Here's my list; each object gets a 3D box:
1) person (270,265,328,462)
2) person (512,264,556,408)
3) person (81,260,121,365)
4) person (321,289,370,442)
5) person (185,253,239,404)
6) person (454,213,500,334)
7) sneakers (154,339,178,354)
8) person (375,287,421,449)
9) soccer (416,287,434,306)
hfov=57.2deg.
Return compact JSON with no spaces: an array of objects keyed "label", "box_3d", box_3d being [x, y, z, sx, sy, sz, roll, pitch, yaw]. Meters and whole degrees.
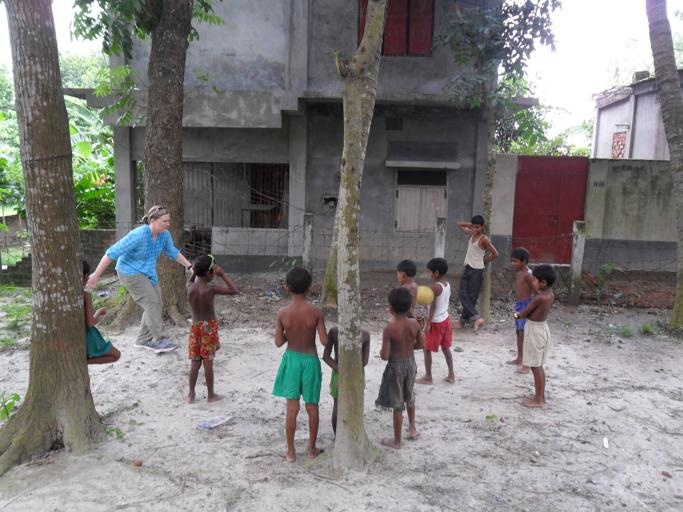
[{"label":"person","box_3d":[-0.458,1.186,6.922,0.575,2.098,0.397,0,4,-5]},{"label":"person","box_3d":[2.471,0.990,7.928,0.434,1.753,0.346,-1,4,-17]},{"label":"person","box_3d":[-2.904,0.712,7.564,0.383,1.323,0.779,-1,4,-20]},{"label":"person","box_3d":[0.052,1.408,7.088,0.502,1.291,0.593,0,4,1]},{"label":"person","box_3d":[-1.693,0.902,7.936,0.567,1.825,0.541,3,5,37]},{"label":"person","box_3d":[2.231,0.276,10.408,0.540,1.862,0.727,0,4,-6]},{"label":"sneakers","box_3d":[-2.602,1.310,9.243,0.347,0.196,0.172,-4,5,-5]},{"label":"person","box_3d":[0.662,1.373,7.141,0.627,1.563,0.280,-3,5,-37]},{"label":"soccer","box_3d":[1.066,0.490,8.114,0.211,0.295,0.224,-7,-10,24]}]
